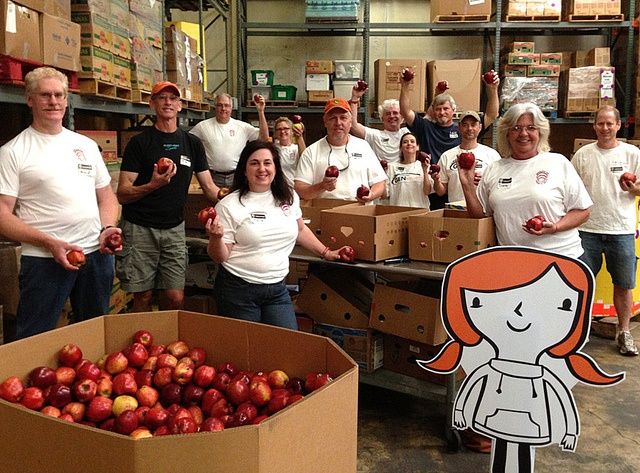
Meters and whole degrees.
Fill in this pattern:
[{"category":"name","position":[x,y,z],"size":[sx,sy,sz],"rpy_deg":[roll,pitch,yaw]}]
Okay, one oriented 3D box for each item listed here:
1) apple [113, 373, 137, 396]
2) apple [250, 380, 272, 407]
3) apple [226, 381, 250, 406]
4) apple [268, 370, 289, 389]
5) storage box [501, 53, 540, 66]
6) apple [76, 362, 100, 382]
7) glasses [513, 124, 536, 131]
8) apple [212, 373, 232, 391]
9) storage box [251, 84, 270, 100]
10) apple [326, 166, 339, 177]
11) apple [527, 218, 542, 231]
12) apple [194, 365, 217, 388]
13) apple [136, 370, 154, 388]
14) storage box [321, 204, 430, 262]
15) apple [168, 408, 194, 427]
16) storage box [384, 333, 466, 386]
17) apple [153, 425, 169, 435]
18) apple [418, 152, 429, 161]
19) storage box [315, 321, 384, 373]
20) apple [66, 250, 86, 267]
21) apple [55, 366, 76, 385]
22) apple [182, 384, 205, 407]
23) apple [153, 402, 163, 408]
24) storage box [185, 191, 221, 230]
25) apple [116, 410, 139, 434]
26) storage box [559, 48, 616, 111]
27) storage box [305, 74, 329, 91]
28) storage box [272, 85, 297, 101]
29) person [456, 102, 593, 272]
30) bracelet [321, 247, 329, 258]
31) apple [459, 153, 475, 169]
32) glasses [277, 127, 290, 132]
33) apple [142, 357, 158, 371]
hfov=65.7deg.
[{"category":"apple","position":[-0.751,0.570,1.929],"size":[0.064,0.054,0.087],"rpy_deg":[20,18,35]},{"category":"apple","position":[-0.221,0.592,1.919],"size":[0.077,0.098,0.080],"rpy_deg":[11,10,38]},{"category":"apple","position":[-0.314,0.596,1.894],"size":[0.080,0.080,0.082],"rpy_deg":[-1,2,6]},{"category":"apple","position":[-0.161,0.556,1.939],"size":[0.062,0.065,0.074],"rpy_deg":[11,-14,-3]},{"category":"storage box","position":[3.160,-2.766,7.798],"size":[0.562,0.199,0.322],"rpy_deg":[7,15,29]},{"category":"apple","position":[-0.906,0.527,1.953],"size":[0.070,0.068,0.070],"rpy_deg":[9,-19,0]},{"category":"glasses","position":[1.232,-0.650,2.977],"size":[0.123,0.033,0.036],"rpy_deg":[5,14,21]},{"category":"apple","position":[-0.390,0.574,1.964],"size":[0.060,0.060,0.062],"rpy_deg":[9,-2,38]},{"category":"storage box","position":[-0.974,-2.450,8.430],"size":[0.390,0.267,0.334],"rpy_deg":[-2,21,0]},{"category":"apple","position":[0.085,-0.434,3.424],"size":[0.073,0.075,0.074],"rpy_deg":[4,30,-16]},{"category":"apple","position":[1.233,-0.073,2.831],"size":[0.092,0.072,0.052],"rpy_deg":[2,13,12]},{"category":"apple","position":[-0.467,0.571,2.039],"size":[0.073,0.089,0.081],"rpy_deg":[19,-25,-22]},{"category":"apple","position":[-0.694,0.570,1.996],"size":[0.055,0.067,0.057],"rpy_deg":[12,-17,15]},{"category":"storage box","position":[0.396,-0.049,3.319],"size":[0.458,0.255,0.481],"rpy_deg":[3,7,40]},{"category":"apple","position":[-0.494,0.635,1.754],"size":[0.060,0.062,0.063],"rpy_deg":[-17,32,10]},{"category":"storage box","position":[0.624,0.748,3.314],"size":[0.344,0.222,0.355],"rpy_deg":[6,3,41]},{"category":"apple","position":[-0.546,0.660,1.698],"size":[0.037,0.038,0.045],"rpy_deg":[9,-21,-17]},{"category":"apple","position":[0.859,-0.653,4.136],"size":[0.075,0.072,0.073],"rpy_deg":[12,3,-35]},{"category":"storage box","position":[0.201,0.718,3.324],"size":[0.433,0.289,0.448],"rpy_deg":[2,3,34]},{"category":"apple","position":[-1.231,0.117,2.522],"size":[0.079,0.083,0.081],"rpy_deg":[2,-11,-5]},{"category":"apple","position":[-0.979,0.533,1.902],"size":[0.070,0.065,0.058],"rpy_deg":[-18,4,-31]},{"category":"apple","position":[-0.500,0.616,1.939],"size":[0.066,0.079,0.067],"rpy_deg":[4,1,-15]},{"category":"apple","position":[-0.619,0.643,1.888],"size":[0.030,0.024,0.032],"rpy_deg":[3,2,-16]},{"category":"storage box","position":[-1.142,-0.212,4.665],"size":[0.407,0.398,0.412],"rpy_deg":[0,-1,7]},{"category":"apple","position":[-0.662,0.635,1.698],"size":[0.054,0.043,0.074],"rpy_deg":[5,17,4]},{"category":"storage box","position":[4.255,-2.435,7.891],"size":[0.790,1.052,0.651],"rpy_deg":[5,14,24]},{"category":"storage box","position":[-0.041,-2.545,8.302],"size":[0.279,0.183,0.288],"rpy_deg":[2,10,4]},{"category":"storage box","position":[-0.621,-2.436,8.480],"size":[0.395,0.243,0.242],"rpy_deg":[-2,13,-7]},{"category":"person","position":[1.258,-0.345,3.050],"size":[0.736,0.920,0.337],"rpy_deg":[7,15,28]},{"category":"bracelet","position":[0.028,0.101,3.175],"size":[0.041,0.030,0.045],"rpy_deg":[-44,-1,-23]},{"category":"apple","position":[0.904,-0.465,3.049],"size":[0.086,0.111,0.096],"rpy_deg":[0,1,0]},{"category":"glasses","position":[-0.430,-1.240,5.813],"size":[0.163,0.050,0.060],"rpy_deg":[-5,14,-22]},{"category":"apple","position":[-0.691,0.516,2.014],"size":[0.044,0.050,0.045],"rpy_deg":[-24,-5,43]}]
